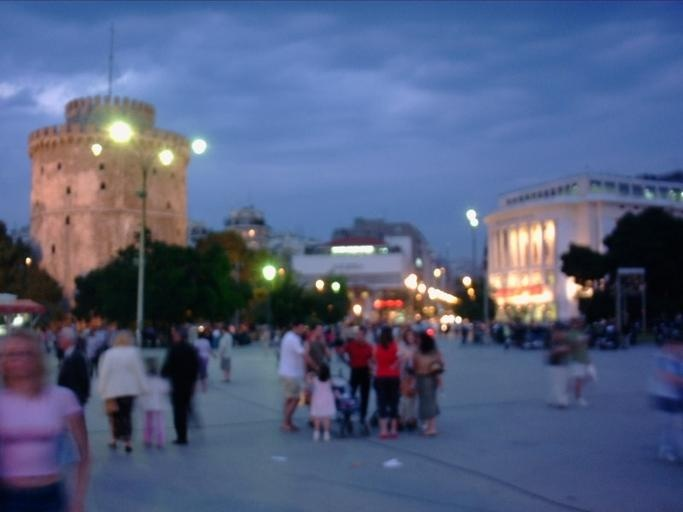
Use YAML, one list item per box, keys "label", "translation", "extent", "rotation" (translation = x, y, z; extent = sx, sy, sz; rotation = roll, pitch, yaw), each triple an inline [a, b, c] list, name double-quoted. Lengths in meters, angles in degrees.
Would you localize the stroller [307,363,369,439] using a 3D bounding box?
- label: "stroller"
  translation: [-0.084, 2.799, 20.249]
  extent: [0.822, 0.808, 2.013]
  rotation: [7, 27, -9]
